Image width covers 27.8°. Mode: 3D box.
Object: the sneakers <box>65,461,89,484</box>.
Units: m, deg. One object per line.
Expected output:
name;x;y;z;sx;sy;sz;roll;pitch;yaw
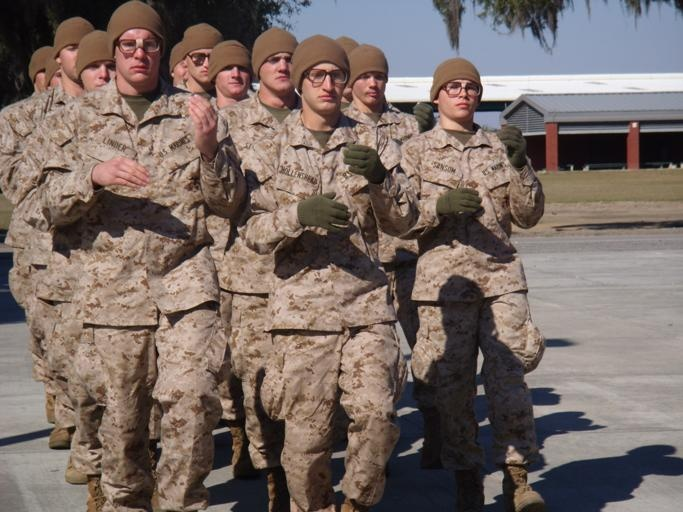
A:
sneakers;-2.256;1.871;11.751;0.206;0.237;0.353;2;-13;-14

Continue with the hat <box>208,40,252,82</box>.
hat;-1.127;-1.927;13.240;0.350;0.311;0.330;3;6;12

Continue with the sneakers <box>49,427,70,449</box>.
sneakers;-2.551;1.684;12.610;0.146;0.189;0.421;1;-3;-11

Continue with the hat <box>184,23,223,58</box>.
hat;-1.414;-2.191;13.967;0.344;0.261;0.337;-4;6;-17

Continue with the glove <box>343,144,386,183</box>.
glove;0.168;-0.679;10.268;0.301;0.316;0.162;-4;7;1

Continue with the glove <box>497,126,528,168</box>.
glove;1.381;-0.898;11.296;0.227;0.379;0.421;-3;7;7

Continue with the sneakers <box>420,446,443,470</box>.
sneakers;0.765;1.787;12.065;0.207;0.195;0.201;4;3;-11

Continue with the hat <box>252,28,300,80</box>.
hat;-0.592;-1.923;12.505;0.388;0.403;0.412;-25;31;-29

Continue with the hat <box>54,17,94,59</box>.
hat;-2.454;-2.070;12.835;0.417;0.319;0.314;-4;-3;13

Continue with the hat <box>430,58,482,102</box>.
hat;0.979;-1.524;11.872;0.474;0.362;0.476;-2;-6;-5
